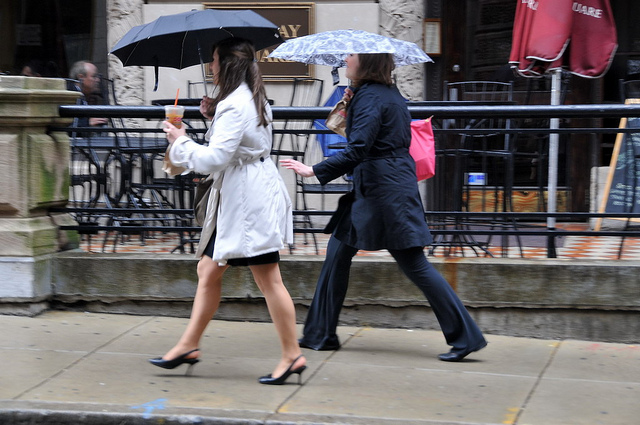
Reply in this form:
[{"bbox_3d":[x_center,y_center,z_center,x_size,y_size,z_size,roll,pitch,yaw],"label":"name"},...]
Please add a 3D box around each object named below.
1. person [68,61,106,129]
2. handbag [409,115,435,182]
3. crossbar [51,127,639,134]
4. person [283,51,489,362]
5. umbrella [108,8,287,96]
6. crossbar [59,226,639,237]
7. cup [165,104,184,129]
[{"bbox_3d":[-2.946,-1.508,10.786,0.398,0.892,2.648,-1,5,-16],"label":"person"},{"bbox_3d":[0.960,-0.596,8.066,0.226,0.582,0.442,2,6,6],"label":"handbag"},{"bbox_3d":[0.340,-0.845,8.787,5.747,0.082,0.554,1,5,3],"label":"crossbar"},{"bbox_3d":[0.607,-0.035,7.844,1.586,2.840,1.050,3,7,20],"label":"person"},{"bbox_3d":[-1.204,-1.650,8.627,1.580,0.795,0.704,1,6,8],"label":"umbrella"},{"bbox_3d":[0.412,0.198,8.909,5.689,0.085,0.372,1,5,3],"label":"crossbar"},{"bbox_3d":[-1.230,-0.809,7.278,0.136,0.194,0.173,0,6,-9],"label":"cup"}]
